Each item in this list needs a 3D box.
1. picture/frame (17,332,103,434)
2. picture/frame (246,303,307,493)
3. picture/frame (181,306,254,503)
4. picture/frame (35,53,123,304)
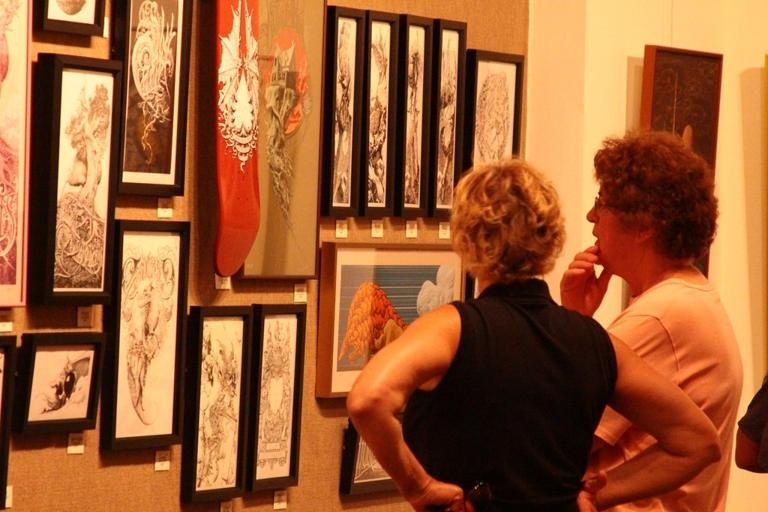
[{"bbox_3d":[-1.431,0.565,3.462,0.332,0.522,0.099,5,-1,-35],"label":"picture/frame"},{"bbox_3d":[-0.539,0.709,3.929,0.265,0.854,0.128,3,5,-21],"label":"picture/frame"},{"bbox_3d":[-0.802,0.717,3.785,0.306,0.878,0.142,4,5,-18],"label":"picture/frame"},{"bbox_3d":[-1.357,-0.269,3.460,0.359,1.004,0.179,3,5,-22],"label":"picture/frame"}]
